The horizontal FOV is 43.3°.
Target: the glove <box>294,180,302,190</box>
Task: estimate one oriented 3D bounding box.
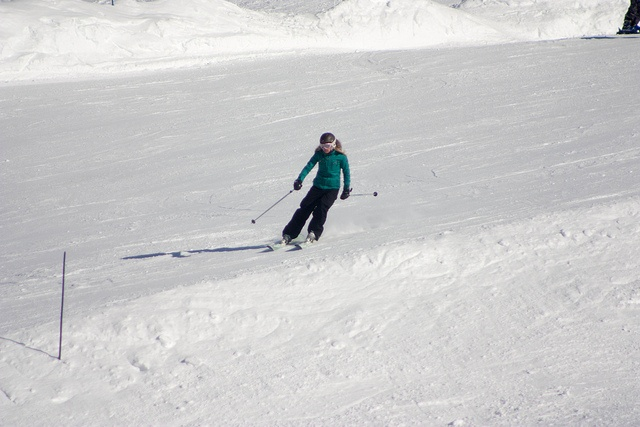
[{"bbox_3d":[-0.559,-0.699,19.780,0.189,0.352,0.278,-2,28,1],"label":"glove"}]

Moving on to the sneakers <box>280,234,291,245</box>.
[{"bbox_3d":[-0.851,0.628,19.882,0.389,0.140,0.148,-8,27,-37],"label":"sneakers"}]

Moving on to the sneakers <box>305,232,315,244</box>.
[{"bbox_3d":[-0.218,0.590,19.777,0.228,0.241,0.117,7,-10,-5],"label":"sneakers"}]
